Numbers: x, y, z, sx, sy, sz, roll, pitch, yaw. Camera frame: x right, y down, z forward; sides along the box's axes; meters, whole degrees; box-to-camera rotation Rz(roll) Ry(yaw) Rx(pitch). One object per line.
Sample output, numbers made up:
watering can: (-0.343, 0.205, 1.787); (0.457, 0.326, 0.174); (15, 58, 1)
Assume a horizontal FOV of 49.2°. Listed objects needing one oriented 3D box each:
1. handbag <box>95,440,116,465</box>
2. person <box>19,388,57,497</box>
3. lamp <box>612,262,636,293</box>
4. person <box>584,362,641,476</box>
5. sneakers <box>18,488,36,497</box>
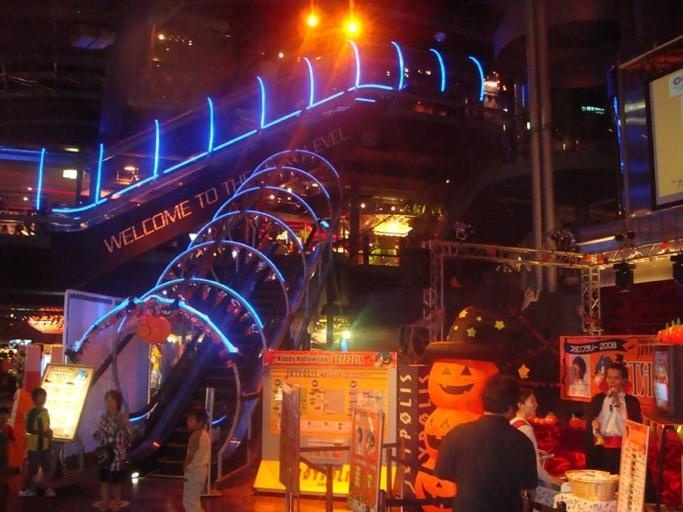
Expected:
handbag: (-4.237, 3.555, 13.309); (0.348, 0.401, 0.137); (1, -11, 7)
person: (-5.585, 3.481, 13.870); (0.627, 1.984, 0.628); (7, -12, -23)
lamp: (5.950, 0.451, 15.990); (0.512, 0.668, 0.539); (1, -5, 1)
person: (4.224, 2.542, 11.664); (0.830, 1.670, 0.552); (-3, -12, 24)
sneakers: (-5.840, 4.388, 13.819); (0.297, 0.147, 0.130); (2, 15, -15)
